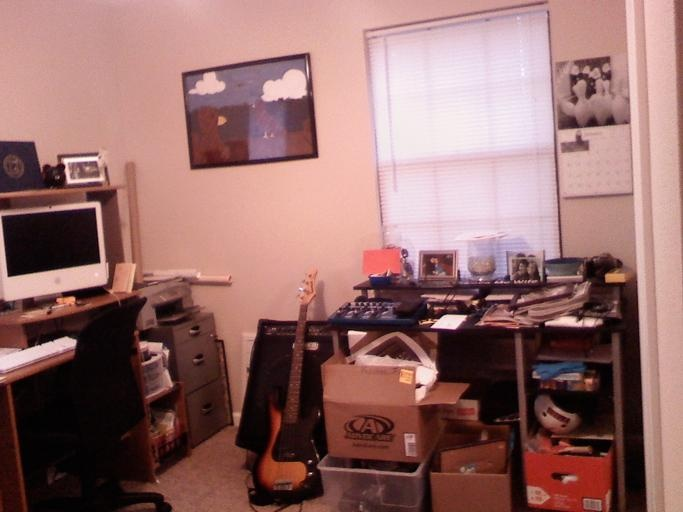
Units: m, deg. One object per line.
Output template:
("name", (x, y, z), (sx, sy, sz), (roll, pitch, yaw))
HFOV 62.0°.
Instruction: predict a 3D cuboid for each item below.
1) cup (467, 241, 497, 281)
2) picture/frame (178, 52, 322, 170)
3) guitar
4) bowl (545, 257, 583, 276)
("cup", (0.894, 0.036, 3.638), (0.229, 0.272, 0.231), (-1, 2, 0))
("picture/frame", (-0.613, -1.047, 4.031), (0.892, 0.629, 0.018), (0, 8, 20))
("guitar", (-0.363, 0.880, 3.507), (0.433, 1.088, 0.574), (-4, 8, -2))
("bowl", (1.322, 0.064, 3.385), (0.210, 0.092, 0.173), (0, 9, 23))
